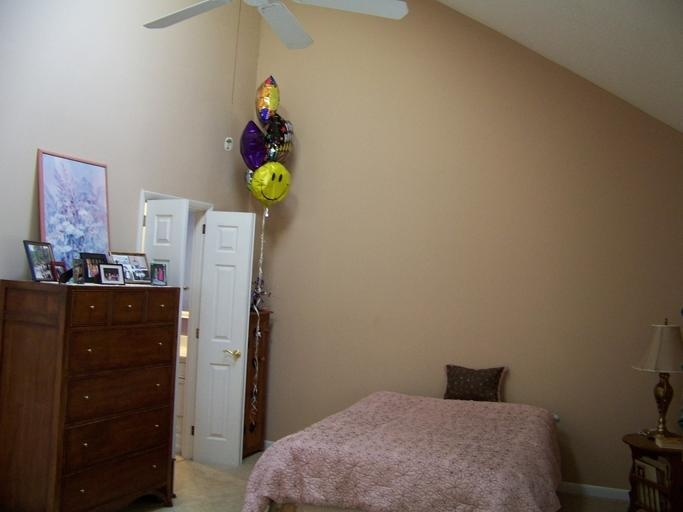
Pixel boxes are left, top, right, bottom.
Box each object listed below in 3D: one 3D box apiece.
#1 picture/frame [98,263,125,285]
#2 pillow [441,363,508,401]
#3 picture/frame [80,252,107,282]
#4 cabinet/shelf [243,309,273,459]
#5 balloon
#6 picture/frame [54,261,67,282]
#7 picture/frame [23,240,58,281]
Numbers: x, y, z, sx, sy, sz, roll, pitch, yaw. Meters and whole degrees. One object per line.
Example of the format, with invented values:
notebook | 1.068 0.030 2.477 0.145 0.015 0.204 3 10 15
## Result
picture/frame | -1.746 0.135 4.003 0.014 0.115 0.145 -14 -13 26
pillow | 1.213 1.184 4.969 0.382 0.398 0.130 4 -32 23
picture/frame | -1.845 0.090 3.931 0.016 0.237 0.194 -7 -5 29
cabinet/shelf | -1.005 1.345 5.697 0.410 1.502 0.438 1 -2 3
balloon | -0.755 -1.170 5.481 0.558 1.294 0.514 1 2 -18
picture/frame | -2.089 0.116 3.929 0.015 0.159 0.130 -13 -10 23
picture/frame | -2.153 0.040 3.831 0.299 0.323 0.033 3 18 26
